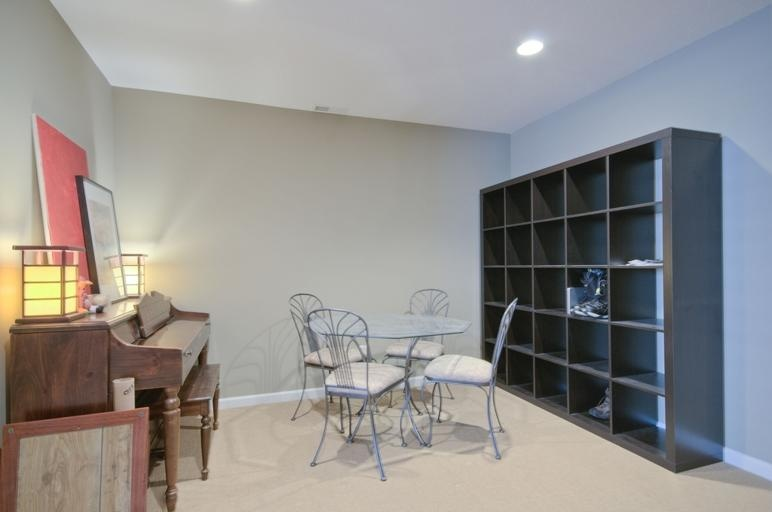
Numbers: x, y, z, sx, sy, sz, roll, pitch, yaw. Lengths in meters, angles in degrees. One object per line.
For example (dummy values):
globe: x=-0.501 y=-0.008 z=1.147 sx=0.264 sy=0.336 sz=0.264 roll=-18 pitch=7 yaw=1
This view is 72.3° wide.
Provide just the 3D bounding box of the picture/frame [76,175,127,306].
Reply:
picture/frame: x=-2.384 y=-0.099 z=4.479 sx=0.044 sy=1.049 sz=0.898 roll=-8 pitch=3 yaw=-13

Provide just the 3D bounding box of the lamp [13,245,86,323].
lamp: x=-2.299 y=0.188 z=3.714 sx=0.480 sy=0.696 sz=0.487 roll=-1 pitch=-1 yaw=44

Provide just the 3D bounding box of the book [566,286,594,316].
book: x=1.822 y=0.417 z=4.910 sx=0.249 sy=0.236 sz=0.059 roll=-1 pitch=2 yaw=-28

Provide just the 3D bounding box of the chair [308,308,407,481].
chair: x=-0.265 y=0.976 z=4.673 sx=0.810 sy=1.383 sz=1.602 roll=-2 pitch=14 yaw=-5

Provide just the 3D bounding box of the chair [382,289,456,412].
chair: x=0.361 y=0.919 z=5.489 sx=0.683 sy=1.114 sz=0.740 roll=3 pitch=6 yaw=44

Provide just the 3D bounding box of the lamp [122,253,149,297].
lamp: x=-2.326 y=0.178 z=4.801 sx=0.276 sy=0.387 sz=0.271 roll=-4 pitch=0 yaw=-34

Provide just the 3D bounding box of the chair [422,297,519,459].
chair: x=0.719 y=0.979 z=4.672 sx=0.849 sy=1.224 sz=0.733 roll=8 pitch=14 yaw=32

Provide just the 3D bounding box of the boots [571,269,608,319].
boots: x=1.934 y=0.341 z=4.907 sx=0.407 sy=0.514 sz=0.374 roll=3 pitch=-5 yaw=-20

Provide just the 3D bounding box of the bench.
bench: x=-1.805 y=1.376 z=4.625 sx=0.728 sy=0.644 sz=1.358 roll=-1 pitch=-1 yaw=-13

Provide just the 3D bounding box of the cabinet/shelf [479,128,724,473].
cabinet/shelf: x=2.046 y=0.254 z=4.648 sx=1.945 sy=2.683 sz=0.949 roll=12 pitch=19 yaw=42
